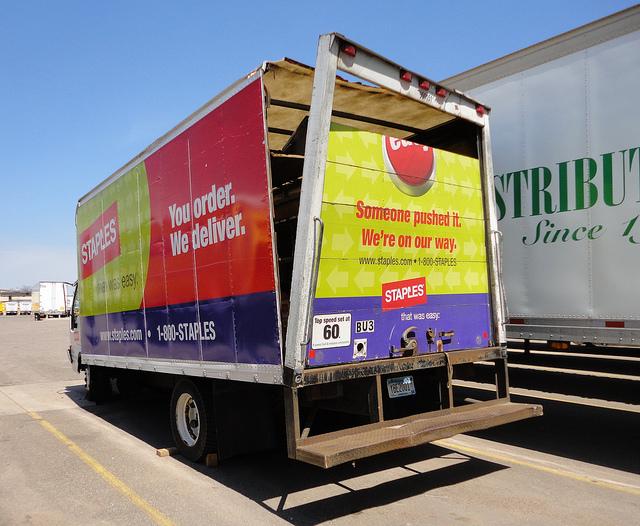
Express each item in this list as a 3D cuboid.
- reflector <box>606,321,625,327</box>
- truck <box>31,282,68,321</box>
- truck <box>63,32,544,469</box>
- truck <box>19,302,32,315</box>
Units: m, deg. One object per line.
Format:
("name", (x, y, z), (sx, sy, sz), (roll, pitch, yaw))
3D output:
("reflector", (3.398, 0.707, 5.560), (0.172, 0.059, 0.035), (-4, -4, 35))
("truck", (-30.560, 5.451, 54.921), (2.652, 4.687, 8.130), (0, -14, -33))
("truck", (-1.247, 0.466, 8.073), (3.556, 5.082, 8.113), (4, -7, -37))
("truck", (-53.871, 8.340, 88.413), (1.277, 2.694, 2.324), (7, -11, -38))
